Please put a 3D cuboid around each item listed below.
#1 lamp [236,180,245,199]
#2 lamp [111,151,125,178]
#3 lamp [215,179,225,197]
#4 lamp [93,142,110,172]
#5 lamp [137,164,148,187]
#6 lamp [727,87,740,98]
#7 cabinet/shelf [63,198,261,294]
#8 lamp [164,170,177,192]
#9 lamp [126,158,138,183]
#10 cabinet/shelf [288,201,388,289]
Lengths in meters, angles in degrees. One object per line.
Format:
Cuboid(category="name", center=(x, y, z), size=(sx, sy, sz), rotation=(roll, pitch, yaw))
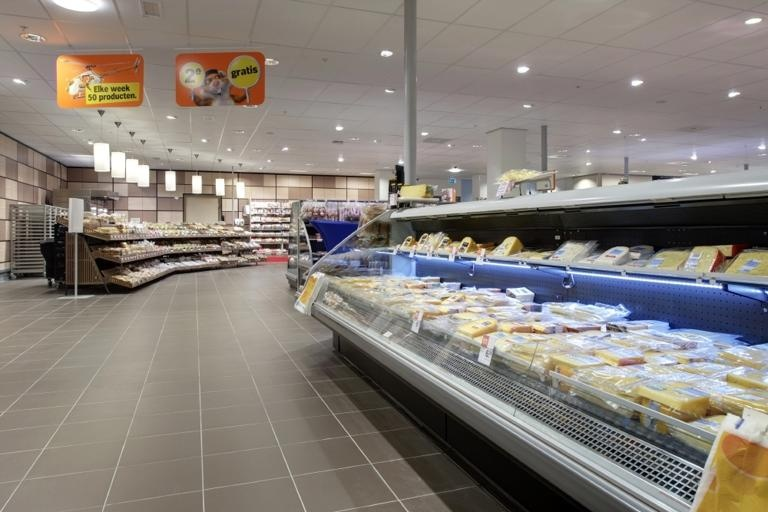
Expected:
Cuboid(category="lamp", center=(-5.225, -2.449, 14.819), size=(0.193, 0.545, 0.650), rotation=(0, 6, -11))
Cuboid(category="lamp", center=(-5.876, -2.048, 8.996), size=(0.237, 0.515, 0.478), rotation=(-4, 8, -36))
Cuboid(category="lamp", center=(-5.778, -2.483, 14.295), size=(0.202, 0.524, 0.502), rotation=(-1, 7, -15))
Cuboid(category="lamp", center=(-5.608, -1.977, 8.085), size=(0.240, 0.517, 0.392), rotation=(-2, 8, -26))
Cuboid(category="lamp", center=(-6.387, -2.165, 10.797), size=(0.215, 0.506, 0.374), rotation=(-3, 8, -31))
Cuboid(category="lamp", center=(6.740, -3.143, 7.878), size=(0.148, 0.087, 0.483), rotation=(3, 9, 27))
Cuboid(category="cabinet/shelf", center=(-5.408, -0.435, 11.563), size=(1.945, 1.934, 5.662), rotation=(-1, 1, 24))
Cuboid(category="lamp", center=(-6.395, -2.274, 12.153), size=(0.210, 0.533, 0.380), rotation=(-3, 8, -33))
Cuboid(category="lamp", center=(-6.252, -2.148, 10.075), size=(0.264, 0.565, 0.565), rotation=(-3, 8, -30))
Cuboid(category="cabinet/shelf", center=(-0.288, -0.231, 7.632), size=(2.291, 1.626, 1.235), rotation=(4, 10, 42))
